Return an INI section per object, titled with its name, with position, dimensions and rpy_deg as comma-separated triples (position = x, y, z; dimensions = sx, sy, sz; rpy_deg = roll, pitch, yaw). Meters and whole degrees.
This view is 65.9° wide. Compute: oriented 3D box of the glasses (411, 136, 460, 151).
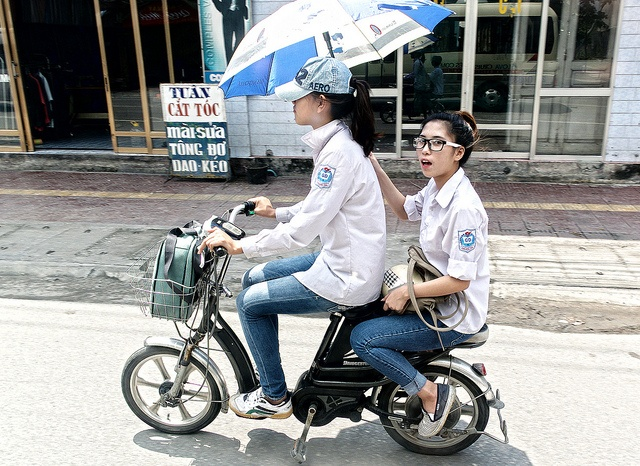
[glasses]
position = 0.705, -0.525, 3.005
dimensions = 0.165, 0.033, 0.150
rpy_deg = 1, 6, -40

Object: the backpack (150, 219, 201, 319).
[backpack]
position = -0.926, 0.287, 3.156
dimensions = 0.357, 0.542, 0.157
rpy_deg = -5, 16, -10

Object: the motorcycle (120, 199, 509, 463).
[motorcycle]
position = -0.520, 0.674, 3.956
dimensions = 3.747, 1.420, 1.356
rpy_deg = 3, 13, 7

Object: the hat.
[hat]
position = -0.005, -0.955, 3.017
dimensions = 0.571, 0.208, 0.259
rpy_deg = 2, 42, 8

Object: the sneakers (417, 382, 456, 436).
[sneakers]
position = 0.697, 1.112, 3.122
dimensions = 0.217, 0.355, 0.160
rpy_deg = 14, 25, -14
